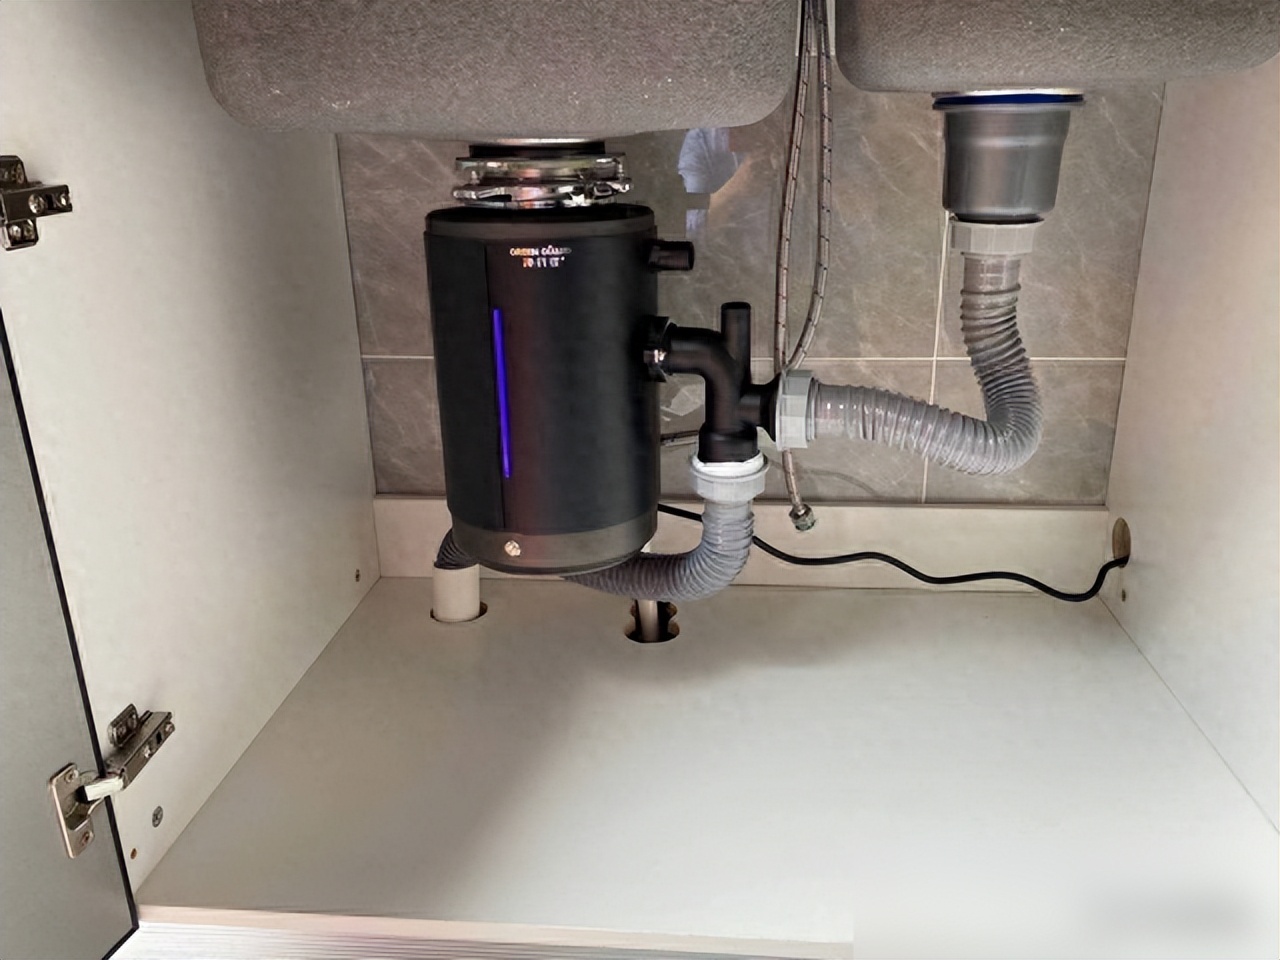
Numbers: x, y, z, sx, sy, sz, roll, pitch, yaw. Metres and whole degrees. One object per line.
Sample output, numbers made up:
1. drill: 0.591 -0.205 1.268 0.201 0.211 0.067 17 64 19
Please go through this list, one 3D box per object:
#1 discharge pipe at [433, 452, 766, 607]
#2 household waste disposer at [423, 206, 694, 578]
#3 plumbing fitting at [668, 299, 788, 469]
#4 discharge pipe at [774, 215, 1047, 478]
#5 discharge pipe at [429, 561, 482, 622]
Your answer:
1. discharge pipe: -0.041 0.058 1.156 0.374 0.193 0.086 -7 28 2
2. household waste disposer: -0.085 -0.095 1.175 0.313 0.403 0.247 6 22 1
3. plumbing fitting: 0.073 -0.107 1.116 0.109 0.187 0.097 -11 24 -40
4. discharge pipe: 0.269 -0.123 1.158 0.227 0.301 0.234 -1 20 -24
5. discharge pipe: -0.237 0.152 1.392 0.068 0.075 0.070 2 15 9
